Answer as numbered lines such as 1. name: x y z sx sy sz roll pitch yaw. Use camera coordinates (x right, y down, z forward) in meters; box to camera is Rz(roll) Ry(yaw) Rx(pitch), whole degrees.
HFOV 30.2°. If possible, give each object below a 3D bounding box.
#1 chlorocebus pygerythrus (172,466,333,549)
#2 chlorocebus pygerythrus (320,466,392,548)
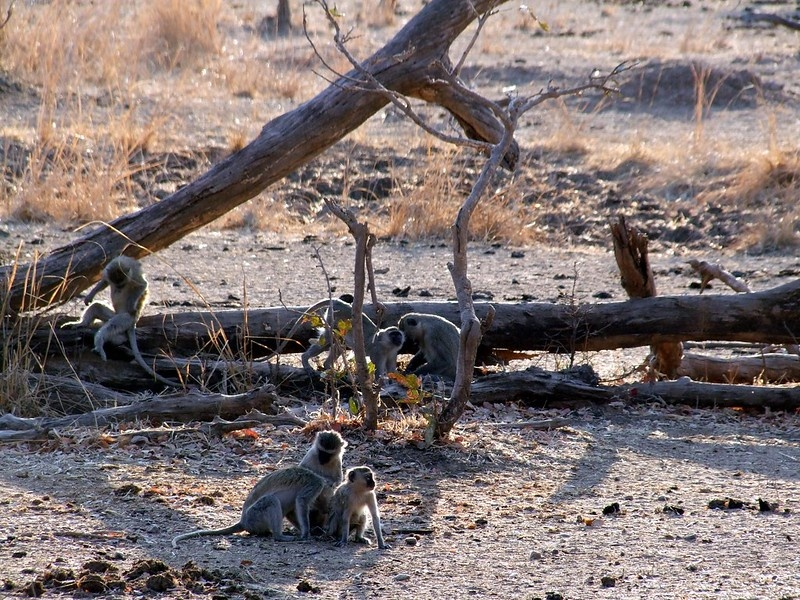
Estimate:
1. chlorocebus pygerythrus: -1.105 1.642 11.972 1.498 0.576 0.421 -1 -8 -18
2. chlorocebus pygerythrus: -0.336 1.649 11.927 0.501 0.641 0.294 1 7 -2
